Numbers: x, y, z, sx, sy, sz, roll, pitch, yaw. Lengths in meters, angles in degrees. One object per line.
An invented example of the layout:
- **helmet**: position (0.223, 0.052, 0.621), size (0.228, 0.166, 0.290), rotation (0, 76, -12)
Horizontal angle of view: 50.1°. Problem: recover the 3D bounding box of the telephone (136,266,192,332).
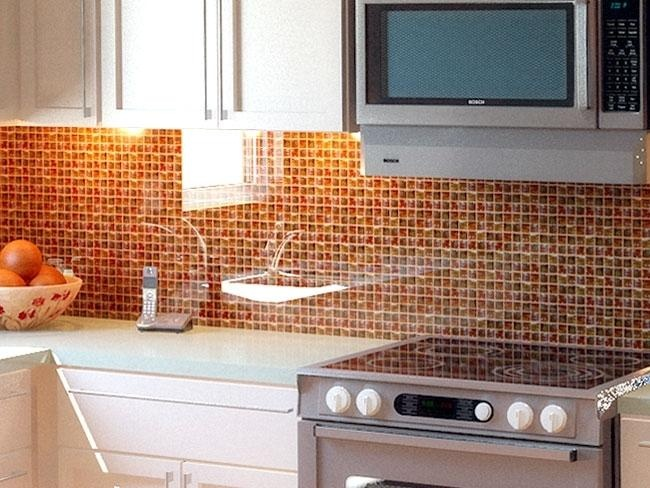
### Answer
- **telephone**: position (-0.662, 0.204, 2.797), size (0.255, 0.292, 0.231), rotation (0, 2, -1)
